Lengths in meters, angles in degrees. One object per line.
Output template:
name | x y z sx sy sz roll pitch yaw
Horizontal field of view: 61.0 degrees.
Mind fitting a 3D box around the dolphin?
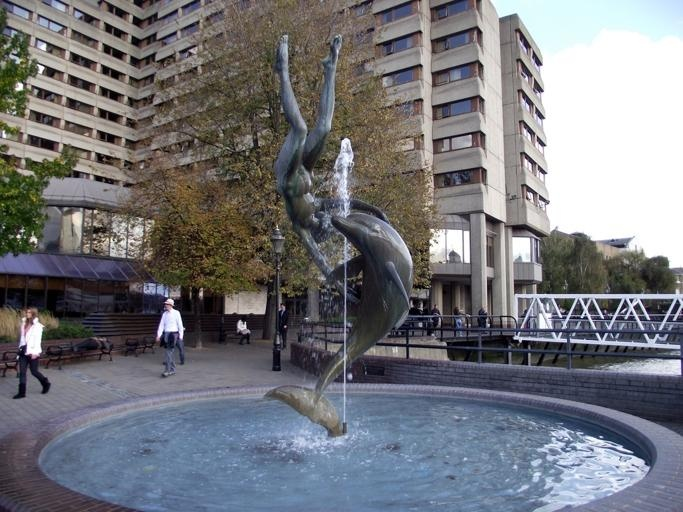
dolphin | 0.414 0.878 10.496 1.690 4.944 2.007 5 -3 25

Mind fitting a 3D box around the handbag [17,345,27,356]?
handbag | -7.902 2.342 14.312 0.375 0.294 0.098 1 2 44

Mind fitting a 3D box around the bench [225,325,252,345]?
bench | -5.756 4.114 31.895 1.617 1.288 0.752 3 -14 -6

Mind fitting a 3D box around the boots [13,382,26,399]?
boots | -7.826 3.265 14.066 0.267 0.352 0.319 -1 2 -22

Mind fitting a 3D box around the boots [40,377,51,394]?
boots | -7.486 3.315 14.739 0.186 0.457 0.398 -1 -11 3

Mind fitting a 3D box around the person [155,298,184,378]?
person | -5.246 2.468 17.660 0.754 2.359 0.627 -1 2 -42

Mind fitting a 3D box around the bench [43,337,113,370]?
bench | -9.360 3.433 20.477 1.150 0.964 3.298 0 1 11
